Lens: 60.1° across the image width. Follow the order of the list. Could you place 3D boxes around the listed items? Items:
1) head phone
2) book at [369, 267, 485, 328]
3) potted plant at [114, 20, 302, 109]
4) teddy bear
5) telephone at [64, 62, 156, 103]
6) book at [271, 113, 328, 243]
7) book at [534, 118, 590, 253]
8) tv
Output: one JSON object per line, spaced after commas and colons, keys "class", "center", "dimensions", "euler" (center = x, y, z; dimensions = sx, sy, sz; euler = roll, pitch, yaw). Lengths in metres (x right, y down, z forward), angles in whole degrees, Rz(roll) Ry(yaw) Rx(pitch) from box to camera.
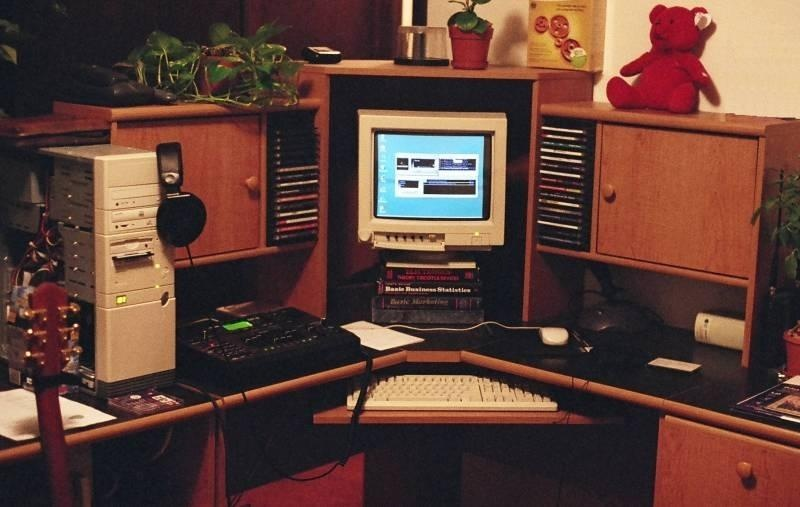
{"class": "head phone", "center": [-0.770, -0.207, 2.349], "dimensions": [0.151, 0.328, 0.377], "euler": [-11, 9, -19]}
{"class": "book", "center": [0.104, 0.172, 2.778], "dimensions": [0.307, 0.135, 0.298], "euler": [1, 8, 6]}
{"class": "potted plant", "center": [-0.673, -0.666, 2.498], "dimensions": [0.417, 0.155, 0.409], "euler": [-3, 12, -40]}
{"class": "teddy bear", "center": [1.015, -0.749, 2.659], "dimensions": [0.276, 0.367, 0.392], "euler": [-8, 25, -42]}
{"class": "telephone", "center": [-1.001, -0.596, 2.328], "dimensions": [0.231, 0.075, 0.161], "euler": [9, 20, 24]}
{"class": "book", "center": [-0.413, -0.294, 2.674], "dimensions": [0.234, 0.507, 0.056], "euler": [-11, 15, -43]}
{"class": "book", "center": [0.631, -0.265, 2.684], "dimensions": [0.329, 0.441, 0.123], "euler": [8, 16, 30]}
{"class": "tv", "center": [0.106, -0.286, 2.908], "dimensions": [0.598, 0.510, 0.369], "euler": [1, 4, -8]}
